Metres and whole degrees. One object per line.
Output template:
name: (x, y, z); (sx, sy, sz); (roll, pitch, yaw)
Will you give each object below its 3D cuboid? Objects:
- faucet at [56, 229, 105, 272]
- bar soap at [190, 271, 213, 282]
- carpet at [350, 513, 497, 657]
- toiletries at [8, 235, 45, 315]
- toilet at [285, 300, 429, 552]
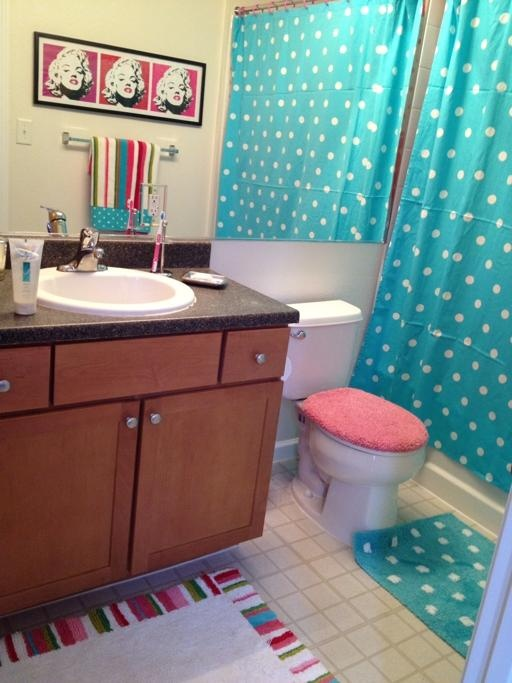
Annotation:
faucet: (-0.408, -0.219, 1.228); (0.161, 0.112, 0.067); (-6, 27, -21)
bar soap: (-0.146, -0.177, 1.398); (0.046, 0.013, 0.066); (0, 20, -7)
carpet: (0.613, 0.697, 1.589); (0.518, 0.059, 0.446); (-6, 24, -33)
toiletries: (-0.417, -0.120, 0.947); (0.073, 0.137, 0.065); (-6, 23, -38)
toilet: (0.302, 0.269, 1.753); (0.357, 0.682, 0.585); (-6, 24, -32)
